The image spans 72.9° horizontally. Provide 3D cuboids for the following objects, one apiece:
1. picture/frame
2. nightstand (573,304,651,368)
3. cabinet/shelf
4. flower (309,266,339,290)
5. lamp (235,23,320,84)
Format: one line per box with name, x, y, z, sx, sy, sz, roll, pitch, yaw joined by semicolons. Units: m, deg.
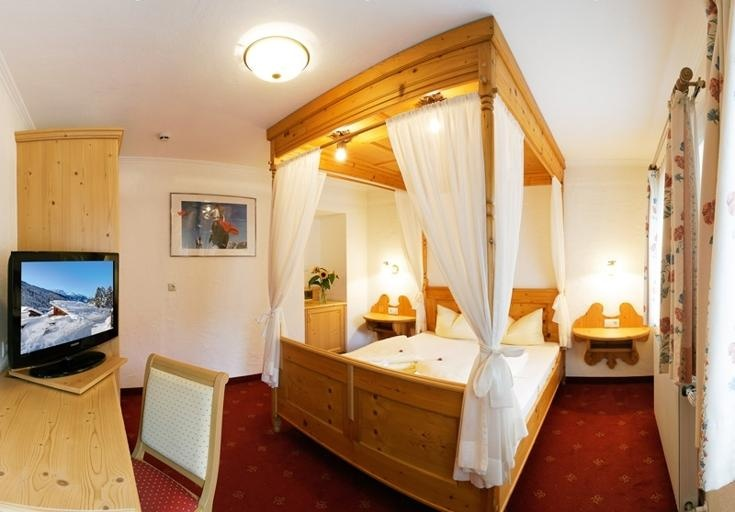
picture/frame;-1.886;-0.372;5.917;0.785;0.588;0.013;1;-4;-28
nightstand;2.817;0.932;5.712;0.818;0.757;0.462;-3;6;21
cabinet/shelf;-2.502;-0.405;4.214;0.732;1.371;0.447;-5;-38;-25
flower;-0.632;0.306;7.232;0.348;0.235;0.360;-8;20;2
lamp;-0.669;-1.537;3.748;0.412;0.150;0.416;-3;-6;-14
